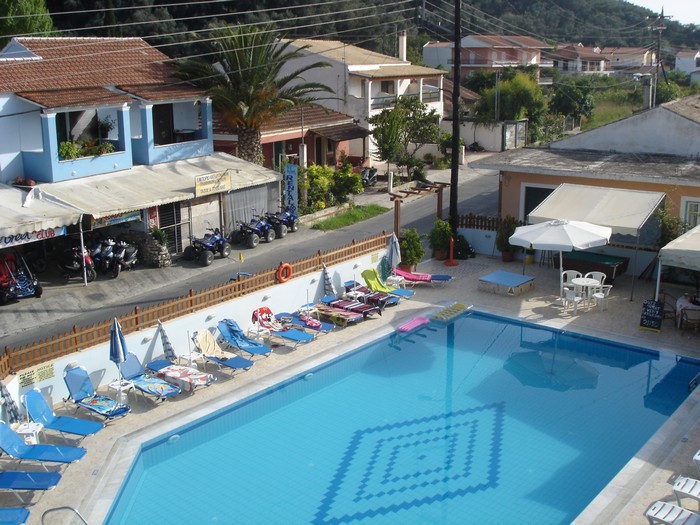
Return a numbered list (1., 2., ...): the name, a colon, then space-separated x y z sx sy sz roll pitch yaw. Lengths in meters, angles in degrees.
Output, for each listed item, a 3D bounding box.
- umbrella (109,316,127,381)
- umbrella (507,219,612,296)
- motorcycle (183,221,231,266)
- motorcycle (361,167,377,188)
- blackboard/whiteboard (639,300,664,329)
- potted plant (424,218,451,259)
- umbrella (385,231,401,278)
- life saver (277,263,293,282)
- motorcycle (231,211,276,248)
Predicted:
1. umbrella: -6.628 2.444 18.492 0.465 1.788 0.947 -10 20 -22
2. umbrella: 7.966 -1.012 24.582 2.896 2.571 3.033 12 31 31
3. motorcycle: -6.683 -0.828 30.227 1.207 1.474 2.294 10 21 28
4. motorcycle: 1.253 -5.886 44.273 0.472 1.371 1.104 0 -18 35
5. blackboard/whiteboard: 10.444 1.779 22.488 0.700 1.034 0.480 6 20 23
6. potted plant: 4.145 -1.025 30.073 0.947 1.689 0.803 1 19 9
7. umbrella: 1.771 -0.281 27.439 0.731 2.316 0.941 2 26 10
8. life saver: -2.380 0.353 23.495 0.200 0.603 0.589 7 10 30
9. motorcycle: -4.808 -1.625 32.765 1.206 1.376 2.144 14 23 37
